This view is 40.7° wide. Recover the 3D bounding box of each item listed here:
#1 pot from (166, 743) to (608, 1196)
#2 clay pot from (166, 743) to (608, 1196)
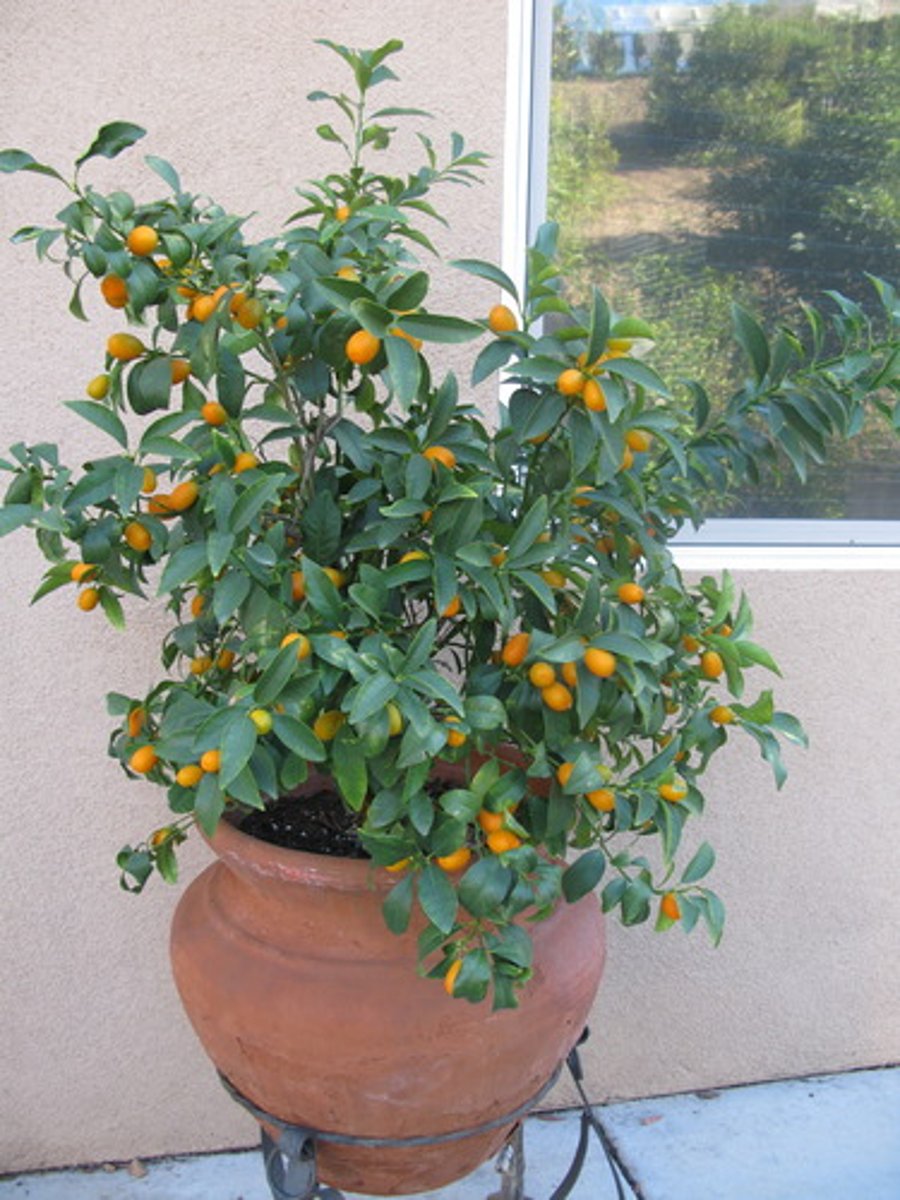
[{"bbox_3d":[-0.058,0.415,1.523,0.511,0.347,0.480,0,2,0],"label":"pot"},{"bbox_3d":[-0.064,0.412,1.518,0.511,0.347,0.480,0,2,0],"label":"clay pot"}]
